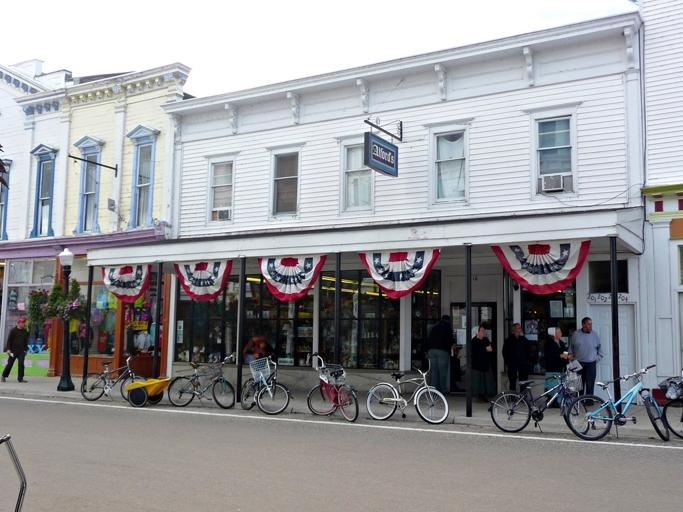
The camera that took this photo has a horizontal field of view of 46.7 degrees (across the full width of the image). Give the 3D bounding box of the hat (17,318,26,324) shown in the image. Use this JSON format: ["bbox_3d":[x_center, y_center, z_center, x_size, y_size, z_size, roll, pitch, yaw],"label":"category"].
[{"bbox_3d":[-10.464,2.123,25.844,0.245,0.092,0.193,-2,-4,44],"label":"hat"}]

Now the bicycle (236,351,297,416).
[{"bbox_3d":[-1.723,3.284,19.526,0.868,0.959,1.541,16,-21,-37],"label":"bicycle"}]

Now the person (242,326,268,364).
[{"bbox_3d":[-2.515,2.638,23.243,0.690,1.676,0.920,0,6,-9],"label":"person"}]

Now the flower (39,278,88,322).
[{"bbox_3d":[-8.514,1.455,24.469,1.710,1.679,1.138,-2,-5,28],"label":"flower"}]

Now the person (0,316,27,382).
[{"bbox_3d":[-10.695,3.066,26.006,0.713,2.122,1.360,5,-9,-23],"label":"person"}]

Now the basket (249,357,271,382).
[{"bbox_3d":[-1.994,2.804,19.658,0.573,0.524,0.656,-9,29,-4],"label":"basket"}]

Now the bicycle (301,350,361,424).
[{"bbox_3d":[-0.185,3.183,18.719,0.576,1.355,1.705,7,-10,-32],"label":"bicycle"}]

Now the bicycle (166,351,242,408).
[{"bbox_3d":[-3.567,3.322,20.301,1.845,1.107,0.512,0,-8,12],"label":"bicycle"}]

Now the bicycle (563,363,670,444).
[{"bbox_3d":[5.648,3.067,16.386,2.255,1.401,1.489,-4,-12,8],"label":"bicycle"}]

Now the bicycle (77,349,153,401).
[{"bbox_3d":[-6.373,3.356,22.035,2.452,1.543,1.283,-5,-13,22],"label":"bicycle"}]
